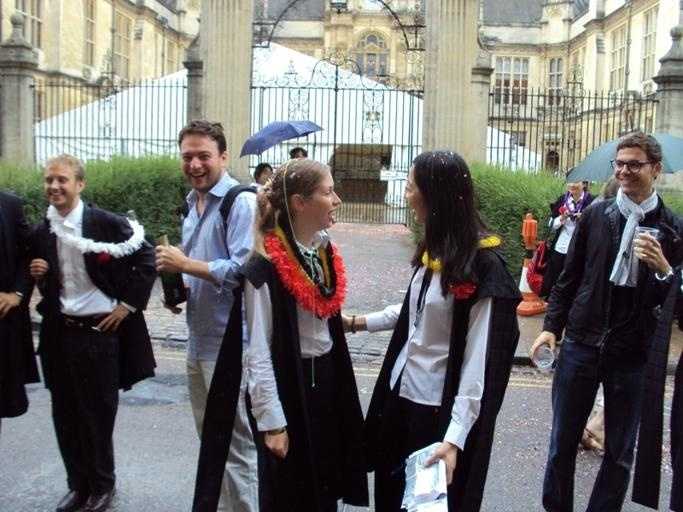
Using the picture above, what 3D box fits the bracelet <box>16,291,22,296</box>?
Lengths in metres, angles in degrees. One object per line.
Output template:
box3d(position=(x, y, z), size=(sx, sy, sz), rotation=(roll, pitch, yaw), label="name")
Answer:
box3d(position=(-2.237, 0.254, 4.753), size=(0.024, 0.036, 0.012), rotation=(0, 29, 12), label="bracelet")

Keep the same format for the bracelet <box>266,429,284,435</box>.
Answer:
box3d(position=(-0.344, 0.910, 3.586), size=(0.094, 0.033, 0.025), rotation=(-1, 11, -9), label="bracelet")

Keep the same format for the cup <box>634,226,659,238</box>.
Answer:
box3d(position=(1.985, -0.167, 4.464), size=(0.102, 0.102, 0.132), rotation=(1, -3, -11), label="cup")
